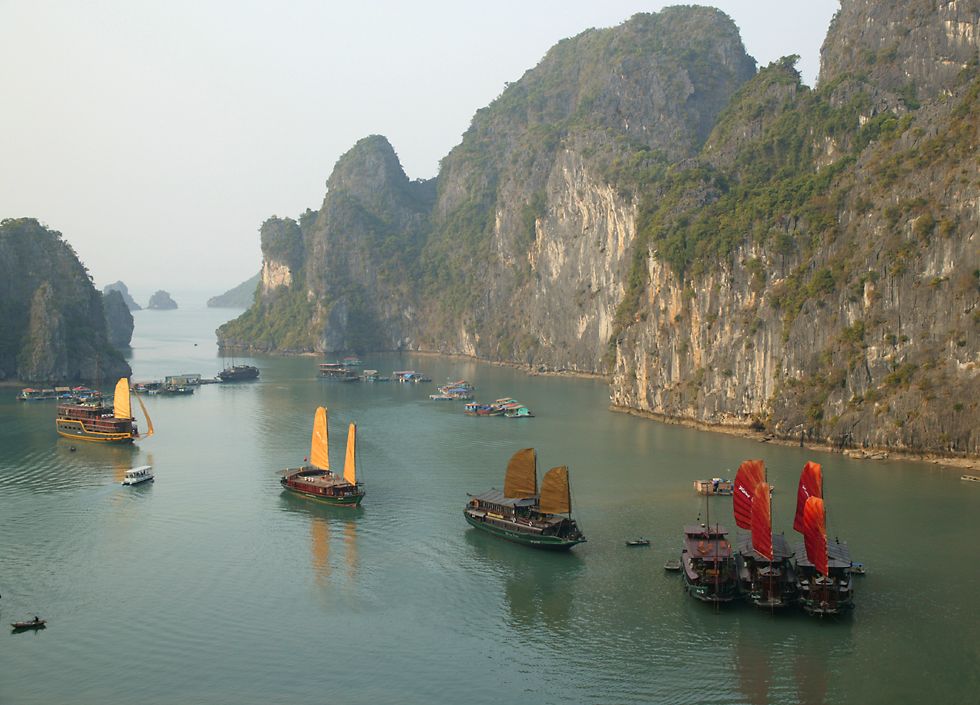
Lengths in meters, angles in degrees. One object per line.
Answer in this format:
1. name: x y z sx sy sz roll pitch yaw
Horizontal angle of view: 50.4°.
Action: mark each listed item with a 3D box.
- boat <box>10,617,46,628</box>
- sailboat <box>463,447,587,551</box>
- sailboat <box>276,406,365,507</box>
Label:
1. boat: -32.041 18.948 72.591 1.475 0.698 0.959 -1 7 -5
2. sailboat: 2.627 11.696 84.883 4.603 7.869 11.339 -13 15 -42
3. sailboat: -15.128 9.407 94.364 4.026 8.694 9.638 0 -4 -40
